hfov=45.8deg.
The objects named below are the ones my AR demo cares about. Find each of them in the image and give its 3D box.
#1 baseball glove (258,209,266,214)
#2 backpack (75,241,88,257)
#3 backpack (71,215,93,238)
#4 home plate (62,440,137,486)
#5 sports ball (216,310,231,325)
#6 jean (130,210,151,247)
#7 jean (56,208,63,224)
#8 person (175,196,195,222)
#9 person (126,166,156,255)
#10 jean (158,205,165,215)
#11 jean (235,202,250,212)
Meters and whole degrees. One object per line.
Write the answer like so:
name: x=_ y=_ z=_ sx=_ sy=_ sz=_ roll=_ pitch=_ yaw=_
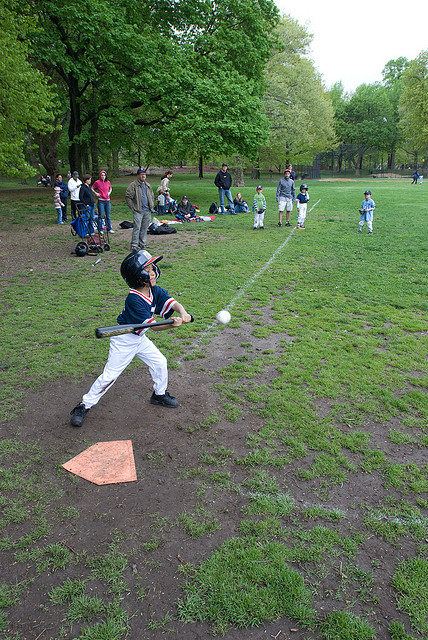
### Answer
baseball glove: x=1.476 y=-3.505 z=16.338 sx=0.153 sy=0.148 sz=0.302 roll=2 pitch=14 yaw=9
backpack: x=-3.236 y=-1.732 z=12.343 sx=0.311 sy=0.314 sz=0.092 roll=-30 pitch=27 yaw=-22
backpack: x=-3.224 y=-2.281 z=12.338 sx=0.500 sy=0.556 sz=0.451 roll=-5 pitch=15 yaw=-14
home plate: x=-0.975 y=1.217 z=4.293 sx=0.594 sy=0.075 sz=0.595 roll=-4 pitch=14 yaw=-11
sports ball: x=0.113 y=-0.015 z=5.356 sx=0.158 sy=0.154 sz=0.152 roll=1 pitch=8 yaw=0
jean: x=-1.849 y=-2.302 z=12.742 sx=0.496 sy=0.958 sz=1.128 roll=-3 pitch=14 yaw=-9
jean: x=-5.287 y=-3.572 z=17.297 sx=0.165 sy=0.515 sz=0.739 roll=-4 pitch=15 yaw=-13
person: x=-1.097 y=-4.222 z=19.252 sx=0.719 sy=0.908 sz=0.568 roll=-13 pitch=19 yaw=-40
person: x=-1.822 y=-2.679 z=12.407 sx=0.626 sy=2.031 sz=1.488 roll=-3 pitch=15 yaw=-9
jean: x=-2.242 y=-4.598 z=21.068 sx=0.362 sy=0.387 sz=0.361 roll=3 pitch=15 yaw=15
jean: x=1.161 y=-5.012 z=22.478 sx=0.401 sy=0.302 sz=0.616 roll=1 pitch=7 yaw=-4
